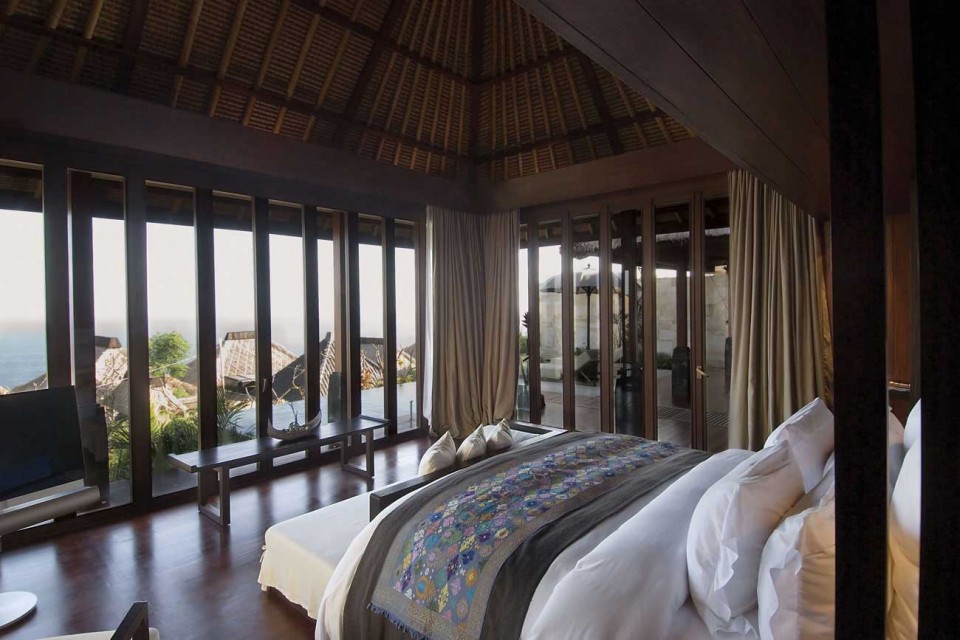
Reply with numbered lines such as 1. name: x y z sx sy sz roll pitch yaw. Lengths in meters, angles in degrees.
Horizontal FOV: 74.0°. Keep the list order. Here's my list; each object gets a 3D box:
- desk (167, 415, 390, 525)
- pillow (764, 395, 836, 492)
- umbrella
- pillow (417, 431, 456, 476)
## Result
1. desk: -1.560 1.213 5.293 0.461 0.554 1.815 5 8 44
2. pillow: 1.599 0.570 3.114 0.161 0.513 0.551 9 12 30
3. umbrella: 1.196 -0.115 6.632 0.723 0.832 0.760 0 -8 1
4. pillow: -0.259 0.858 4.136 0.184 0.168 0.373 -12 0 16
